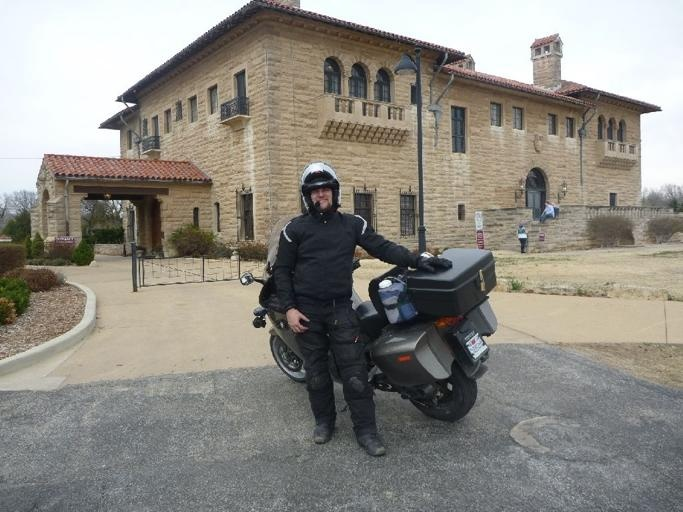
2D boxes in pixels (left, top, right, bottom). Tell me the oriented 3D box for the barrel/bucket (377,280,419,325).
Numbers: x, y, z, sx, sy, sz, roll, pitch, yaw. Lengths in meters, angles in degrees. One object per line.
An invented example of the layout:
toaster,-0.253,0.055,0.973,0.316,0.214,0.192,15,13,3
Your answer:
barrel/bucket,0.516,0.410,5.260,0.298,0.457,0.250,-19,1,13

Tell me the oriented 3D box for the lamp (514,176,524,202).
lamp,9.817,-3.632,30.020,0.870,1.408,0.195,-8,12,-34

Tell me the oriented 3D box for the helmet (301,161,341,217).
helmet,-0.184,-0.706,5.470,0.339,0.451,0.495,-4,6,1

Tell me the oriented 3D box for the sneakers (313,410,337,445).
sneakers,-0.163,1.636,5.301,0.179,0.212,0.504,2,10,11

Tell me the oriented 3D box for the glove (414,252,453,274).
glove,0.847,0.065,5.007,0.201,0.072,0.215,7,23,6

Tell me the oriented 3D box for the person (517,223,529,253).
person,8.330,-0.810,25.106,0.477,1.275,1.227,3,11,19

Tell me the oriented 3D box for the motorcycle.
motorcycle,0.369,0.632,6.110,2.724,1.727,1.441,7,8,40

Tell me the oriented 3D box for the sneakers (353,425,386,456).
sneakers,0.270,1.686,4.983,0.130,0.153,0.343,-5,-3,-19

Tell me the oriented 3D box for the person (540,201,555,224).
person,9.956,-2.051,26.148,0.772,0.829,0.349,-1,10,0
